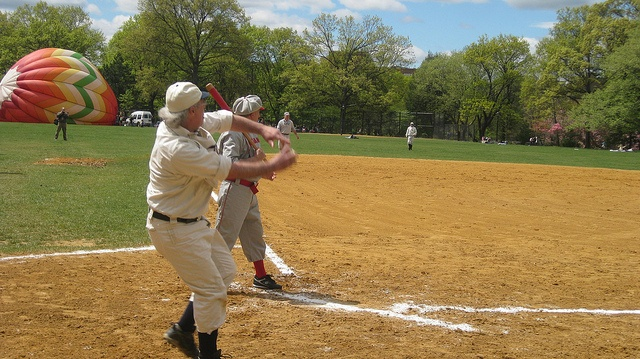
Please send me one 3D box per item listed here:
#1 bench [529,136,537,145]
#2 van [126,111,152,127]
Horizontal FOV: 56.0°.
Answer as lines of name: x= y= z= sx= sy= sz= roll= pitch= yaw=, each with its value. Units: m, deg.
bench: x=26.291 y=-4.799 z=74.191 sx=1.013 sy=0.764 sz=2.725 roll=21 pitch=10 yaw=22
van: x=-21.326 y=-7.320 z=71.814 sx=1.814 sy=1.540 sz=3.094 roll=-7 pitch=14 yaw=-43
